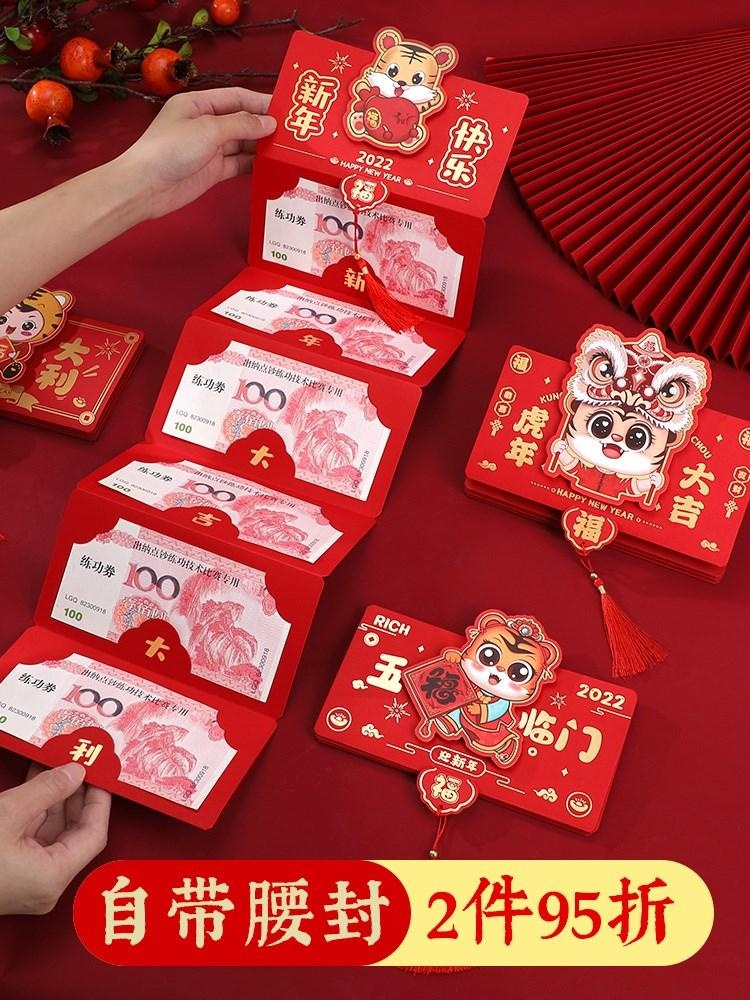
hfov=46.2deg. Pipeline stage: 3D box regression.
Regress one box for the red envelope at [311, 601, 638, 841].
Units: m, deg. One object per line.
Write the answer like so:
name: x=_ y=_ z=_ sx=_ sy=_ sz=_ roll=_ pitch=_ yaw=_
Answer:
red envelope: x=0.094 y=0.196 z=0.829 sx=0.270 sy=0.036 sz=0.203 roll=17 pitch=55 yaw=14

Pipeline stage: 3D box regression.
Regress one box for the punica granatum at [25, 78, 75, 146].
punica granatum: x=-0.441 y=-0.531 z=1.198 sx=0.064 sy=0.056 sz=0.089 roll=-7 pitch=71 yaw=-18

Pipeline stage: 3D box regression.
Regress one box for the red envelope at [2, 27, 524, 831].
red envelope: x=-0.081 y=-0.093 z=1.220 sx=0.558 sy=0.224 sz=0.852 roll=29 pitch=87 yaw=17
